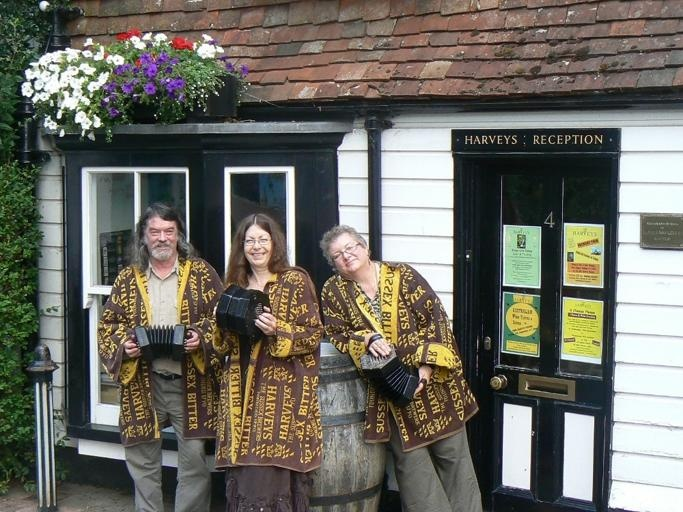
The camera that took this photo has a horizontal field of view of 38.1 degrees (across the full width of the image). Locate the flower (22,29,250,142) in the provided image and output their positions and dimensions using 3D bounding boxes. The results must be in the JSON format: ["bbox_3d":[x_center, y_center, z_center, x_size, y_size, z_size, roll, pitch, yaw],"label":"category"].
[{"bbox_3d":[-1.542,-1.277,7.306,1.544,0.819,0.516,0,2,8],"label":"flower"}]
